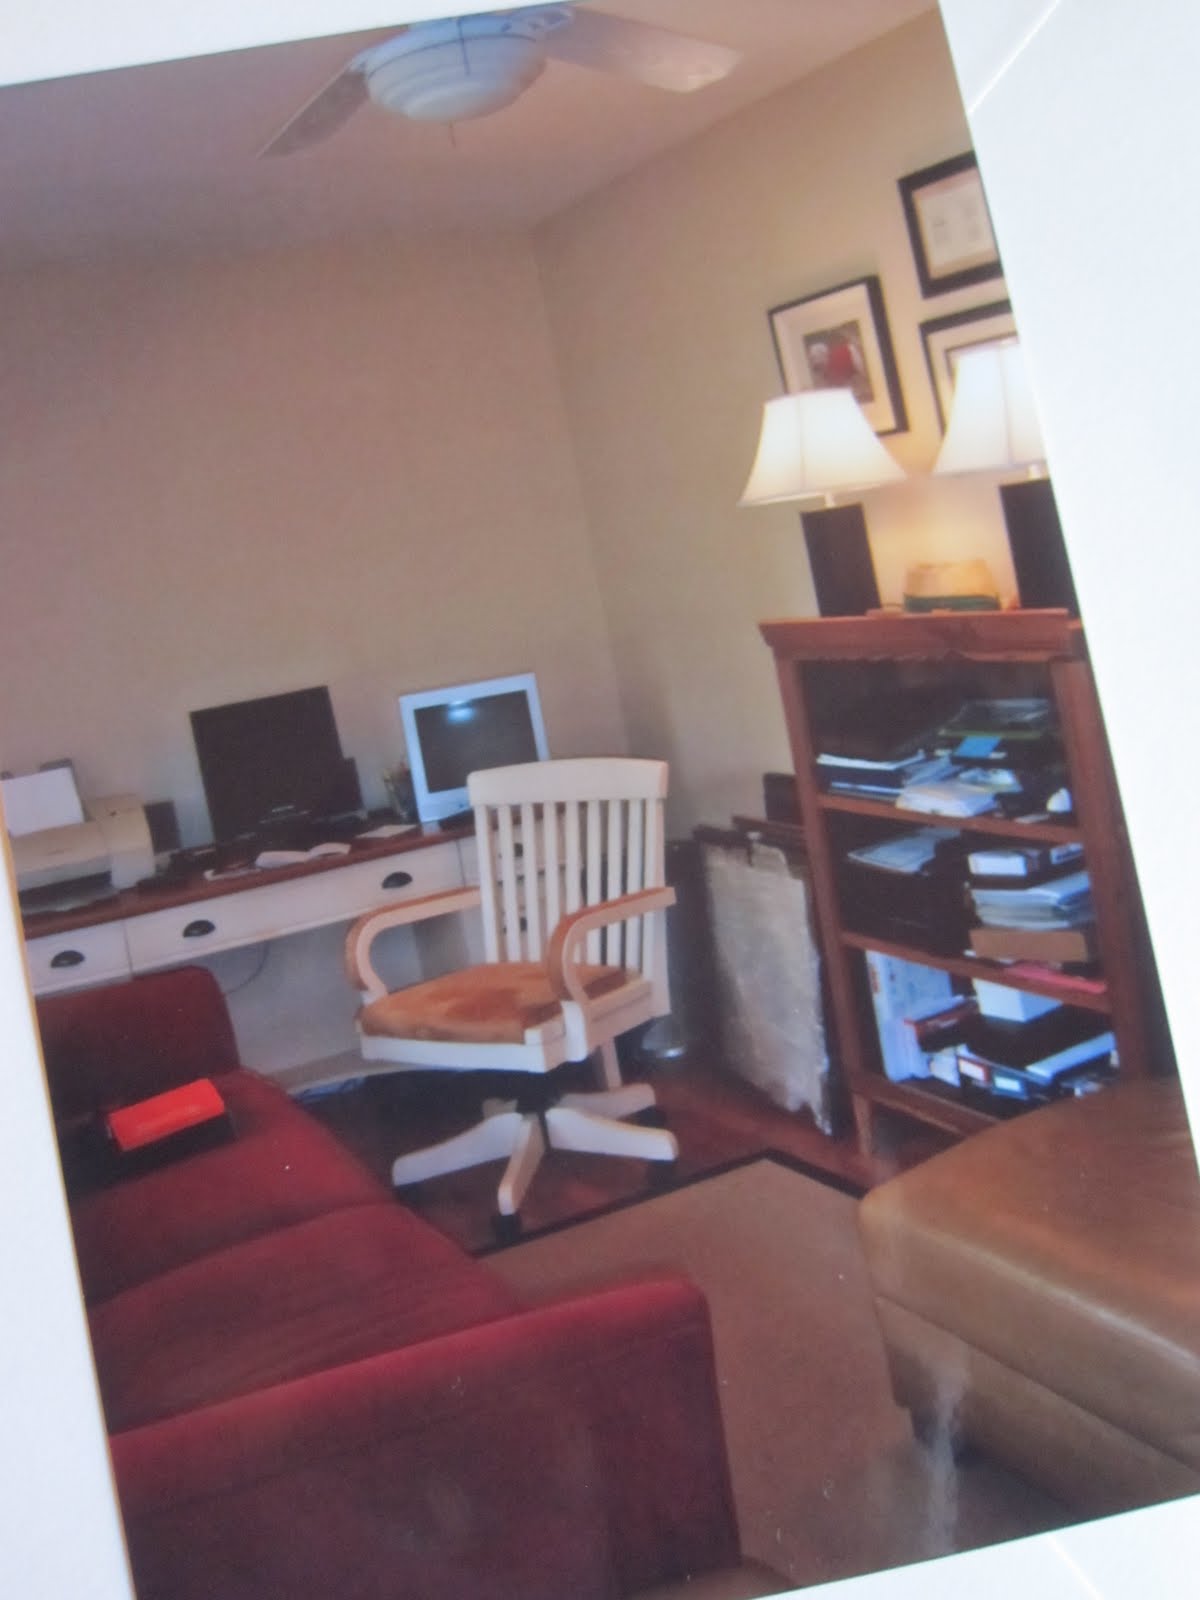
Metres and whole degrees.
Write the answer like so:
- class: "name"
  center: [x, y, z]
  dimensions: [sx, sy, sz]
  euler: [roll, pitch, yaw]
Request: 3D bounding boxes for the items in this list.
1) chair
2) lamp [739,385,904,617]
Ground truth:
- class: "chair"
  center: [-0.048, 0.108, 0.750]
  dimensions: [0.198, 0.252, 0.189]
  euler: [-7, 3, -29]
- class: "lamp"
  center: [0.145, -0.181, 0.758]
  dimensions: [0.091, 0.139, 0.088]
  euler: [-16, 8, -5]
